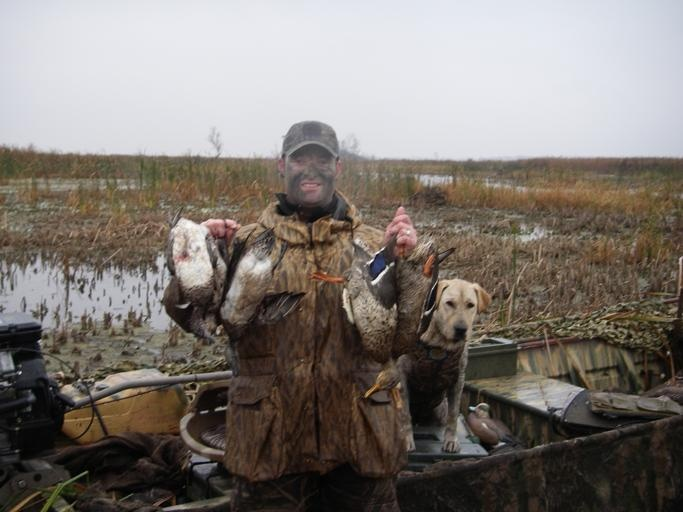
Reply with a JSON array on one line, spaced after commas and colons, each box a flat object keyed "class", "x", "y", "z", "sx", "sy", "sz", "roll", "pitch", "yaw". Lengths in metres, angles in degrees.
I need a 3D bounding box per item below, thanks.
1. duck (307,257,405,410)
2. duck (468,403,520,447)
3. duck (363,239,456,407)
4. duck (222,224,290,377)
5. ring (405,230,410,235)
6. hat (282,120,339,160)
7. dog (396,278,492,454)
[{"class": "duck", "x": 0.119, "y": 0.494, "z": 3.708, "sx": 0.461, "sy": 0.982, "sz": 0.344, "roll": -1, "pitch": 5, "yaw": 5}, {"class": "duck", "x": 1.554, "y": 1.806, "z": 6.181, "sx": 0.322, "sy": 0.505, "sz": 0.636, "roll": 5, "pitch": -3, "yaw": -28}, {"class": "duck", "x": 0.365, "y": 0.383, "z": 3.617, "sx": 0.477, "sy": 0.917, "sz": 0.300, "roll": 8, "pitch": 1, "yaw": -5}, {"class": "duck", "x": -0.556, "y": 0.310, "z": 3.736, "sx": 0.422, "sy": 0.949, "sz": 0.327, "roll": -1, "pitch": 5, "yaw": 6}, {"class": "ring", "x": 0.390, "y": -0.136, "z": 3.570, "sx": 0.034, "sy": 0.037, "sz": 0.020, "roll": -3, "pitch": 2, "yaw": 2}, {"class": "hat", "x": -0.206, "y": -0.760, "z": 4.005, "sx": 0.373, "sy": 0.291, "sz": 0.550, "roll": -1, "pitch": -1, "yaw": -5}, {"class": "dog", "x": 0.902, "y": 1.046, "z": 6.306, "sx": 0.687, "sy": 1.630, "sz": 2.020, "roll": 5, "pitch": 1, "yaw": -7}]
